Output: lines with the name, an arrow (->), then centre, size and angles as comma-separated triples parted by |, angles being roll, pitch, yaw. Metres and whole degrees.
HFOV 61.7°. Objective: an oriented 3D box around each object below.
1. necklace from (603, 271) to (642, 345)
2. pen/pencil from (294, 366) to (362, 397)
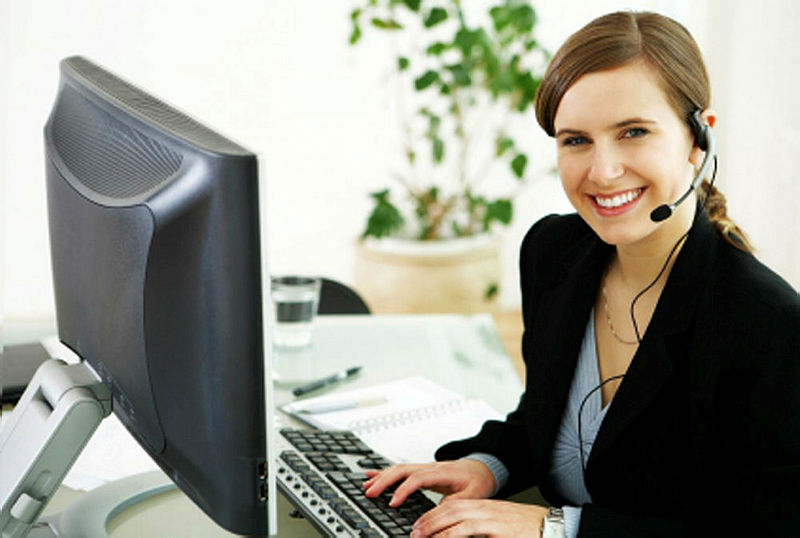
necklace -> 0.472, 0.111, 1.471 | 0.018, 0.107, 0.061 | 4, -14, -36
pen/pencil -> -0.189, 0.296, 1.741 | 0.185, 0.020, 0.020 | -13, 1, -32
